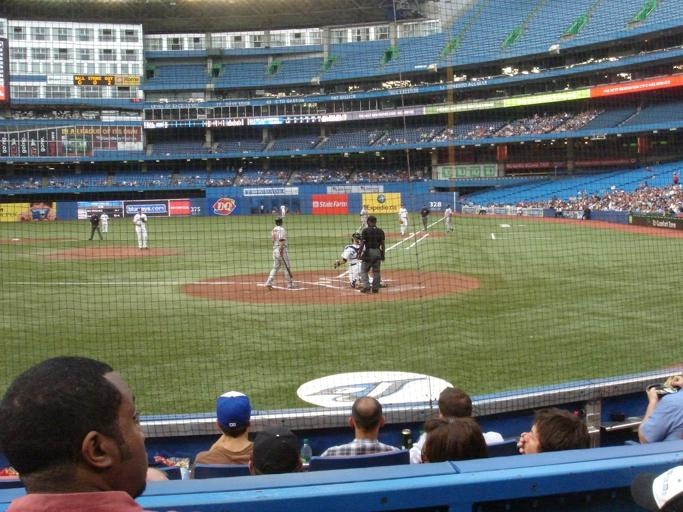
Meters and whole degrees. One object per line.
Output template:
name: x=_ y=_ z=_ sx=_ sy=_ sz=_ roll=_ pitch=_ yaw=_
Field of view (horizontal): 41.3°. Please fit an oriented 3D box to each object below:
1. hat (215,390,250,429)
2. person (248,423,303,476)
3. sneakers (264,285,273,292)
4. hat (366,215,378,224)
hat: x=-2.970 y=4.295 z=25.320 sx=1.079 sy=0.661 sz=1.286 roll=-5 pitch=29 yaw=-3
person: x=-1.805 y=5.101 z=25.008 sx=1.371 sy=0.827 sz=1.656 roll=4 pitch=26 yaw=-13
sneakers: x=-2.723 y=1.212 z=34.812 sx=0.287 sy=0.225 sz=0.549 roll=-5 pitch=5 yaw=-8
hat: x=1.177 y=-1.346 z=34.019 sx=0.340 sy=0.323 sz=0.360 roll=5 pitch=31 yaw=-3
